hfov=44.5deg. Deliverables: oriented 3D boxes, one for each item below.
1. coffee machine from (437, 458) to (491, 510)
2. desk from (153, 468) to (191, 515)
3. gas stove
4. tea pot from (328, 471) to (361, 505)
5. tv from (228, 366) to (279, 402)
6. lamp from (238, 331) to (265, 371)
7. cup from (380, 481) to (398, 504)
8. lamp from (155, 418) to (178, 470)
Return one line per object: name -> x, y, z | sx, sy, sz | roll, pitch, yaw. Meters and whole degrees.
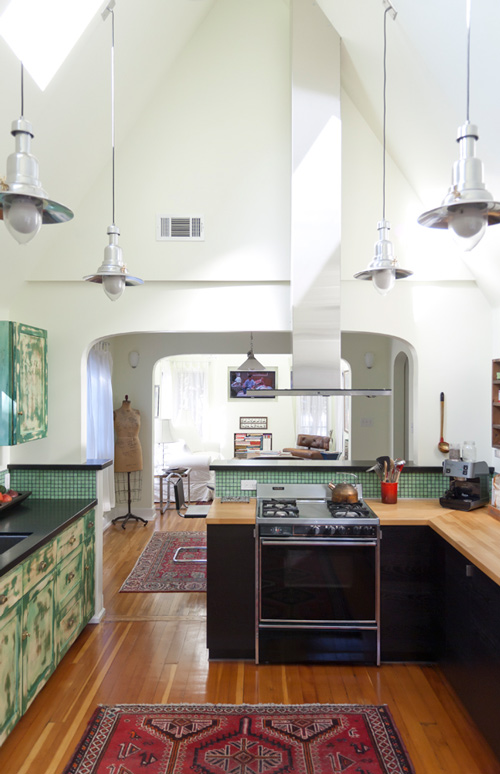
coffee machine -> 1.271, 0.554, 3.614 | 0.247, 0.310, 0.195 | -4, 4, -45
desk -> -0.974, 1.234, 7.613 | 0.355, 0.509, 0.692 | 0, 1, 1
gas stove -> 0.353, 0.716, 3.353 | 0.628, 0.133, 0.507 | 0, 0, 2
tea pot -> 0.558, 0.597, 3.601 | 0.116, 0.155, 0.204 | 1, 1, 4
tv -> 0.023, 0.120, 9.864 | 0.755, 0.620, 0.446 | 0, -5, 9
lamp -> 0.006, -0.388, 6.774 | 0.304, 0.604, 0.361 | 2, 4, 8
cup -> 0.831, 0.622, 3.709 | 0.102, 0.129, 0.117 | 2, 1, 31
lamp -> -1.265, 0.758, 8.906 | 0.298, 0.608, 0.299 | 10, 13, 35
